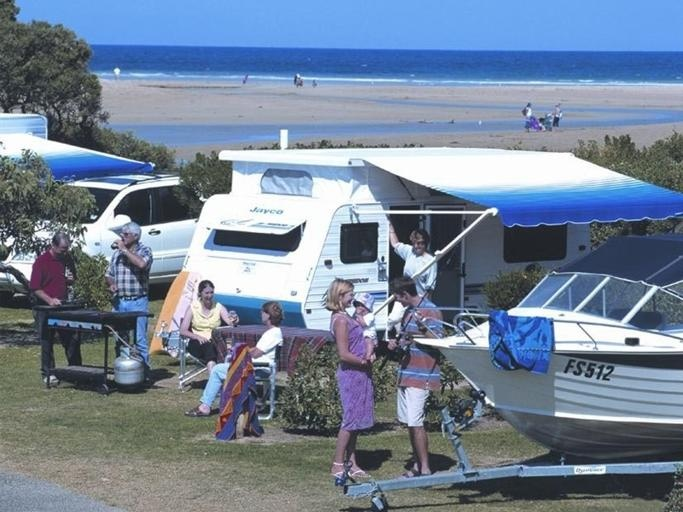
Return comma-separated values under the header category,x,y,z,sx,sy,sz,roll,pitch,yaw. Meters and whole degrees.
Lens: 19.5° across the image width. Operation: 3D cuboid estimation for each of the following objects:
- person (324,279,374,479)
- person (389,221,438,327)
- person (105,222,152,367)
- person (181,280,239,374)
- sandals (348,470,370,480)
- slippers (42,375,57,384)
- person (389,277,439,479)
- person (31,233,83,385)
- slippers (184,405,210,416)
category,x,y,z,sx,sy,sz,roll,pitch,yaw
person,0.183,2.226,36.772,1.071,3.648,1.126,0,7,5
person,1.399,0.705,39.886,1.169,2.889,0.998,-3,4,-3
person,-4.271,0.801,39.685,0.909,2.843,0.813,-7,13,-38
person,-2.579,1.534,39.179,1.027,2.039,1.114,-5,7,-19
sandals,0.328,4.013,36.612,0.393,0.110,0.154,4,2,-5
slippers,-5.703,2.427,39.316,0.246,0.137,0.115,3,1,-17
person,1.357,2.221,36.707,1.043,3.663,1.331,-1,3,-19
person,-5.608,1.086,39.653,1.055,2.958,0.907,-3,12,-27
slippers,-2.786,2.979,38.478,0.422,0.170,0.206,5,-3,-3
